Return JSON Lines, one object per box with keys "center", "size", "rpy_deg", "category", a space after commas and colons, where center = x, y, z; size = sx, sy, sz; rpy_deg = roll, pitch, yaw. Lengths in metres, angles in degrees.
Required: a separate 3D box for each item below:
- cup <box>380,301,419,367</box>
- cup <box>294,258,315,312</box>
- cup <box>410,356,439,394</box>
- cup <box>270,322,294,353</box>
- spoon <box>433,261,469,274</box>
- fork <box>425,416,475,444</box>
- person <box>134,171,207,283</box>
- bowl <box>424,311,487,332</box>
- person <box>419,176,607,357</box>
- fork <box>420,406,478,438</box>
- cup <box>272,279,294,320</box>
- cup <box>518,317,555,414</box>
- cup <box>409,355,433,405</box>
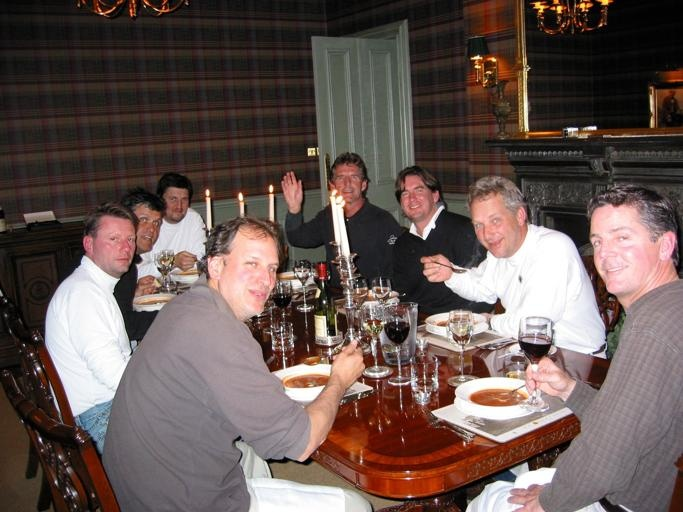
{"center": [0.225, 0.304, 1.954], "size": [0.174, 0.232, 0.160], "rpy_deg": [-1, -1, 0], "category": "cup"}
{"center": [-0.206, 0.157, 2.717], "size": [0.108, 0.262, 0.107], "rpy_deg": [-4, 1, 0], "category": "cup"}
{"center": [0.302, 0.428, 1.767], "size": [0.104, 0.156, 0.098], "rpy_deg": [-3, 0, 0], "category": "cup"}
{"center": [-0.263, 0.376, 2.246], "size": [0.109, 0.113, 0.103], "rpy_deg": [1, 0, 0], "category": "cup"}
{"center": [0.578, 0.061, 2.606], "size": [0.211, 0.030, 0.034], "rpy_deg": [11, 8, -34], "category": "spoon"}
{"center": [0.319, 0.503, 1.441], "size": [0.134, 0.039, 0.048], "rpy_deg": [20, 2, 36], "category": "fork"}
{"center": [-1.432, -0.152, 4.236], "size": [0.673, 1.043, 0.646], "rpy_deg": [1, -7, -25], "category": "person"}
{"center": [0.509, 0.292, 2.241], "size": [0.166, 0.042, 0.161], "rpy_deg": [-1, 6, 0], "category": "bowl"}
{"center": [0.877, 0.182, 2.434], "size": [0.671, 1.053, 0.583], "rpy_deg": [-12, 6, -24], "category": "person"}
{"center": [0.314, 0.479, 1.451], "size": [0.152, 0.045, 0.041], "rpy_deg": [19, 9, 34], "category": "fork"}
{"center": [-0.291, 0.214, 2.467], "size": [0.119, 0.182, 0.125], "rpy_deg": [-2, 4, 0], "category": "cup"}
{"center": [0.632, 0.347, 1.611], "size": [0.115, 0.283, 0.112], "rpy_deg": [4, -6, 0], "category": "cup"}
{"center": [0.277, 0.437, 1.717], "size": [0.108, 0.164, 0.100], "rpy_deg": [-1, 6, 0], "category": "cup"}
